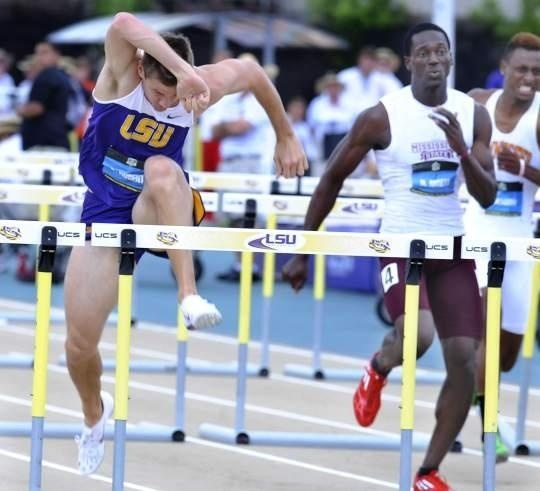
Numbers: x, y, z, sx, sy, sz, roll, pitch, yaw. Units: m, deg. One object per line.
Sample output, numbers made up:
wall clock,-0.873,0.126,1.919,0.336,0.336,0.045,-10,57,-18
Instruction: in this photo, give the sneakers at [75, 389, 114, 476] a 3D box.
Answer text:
sneakers,-0.814,0.937,4.888,0.130,0.458,0.169,5,-1,20

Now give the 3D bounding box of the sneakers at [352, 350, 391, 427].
sneakers,0.543,0.736,5.202,0.115,0.381,0.151,16,5,-13

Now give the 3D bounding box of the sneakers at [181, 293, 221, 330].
sneakers,-0.296,0.281,4.342,0.088,0.103,0.226,-35,9,-10
